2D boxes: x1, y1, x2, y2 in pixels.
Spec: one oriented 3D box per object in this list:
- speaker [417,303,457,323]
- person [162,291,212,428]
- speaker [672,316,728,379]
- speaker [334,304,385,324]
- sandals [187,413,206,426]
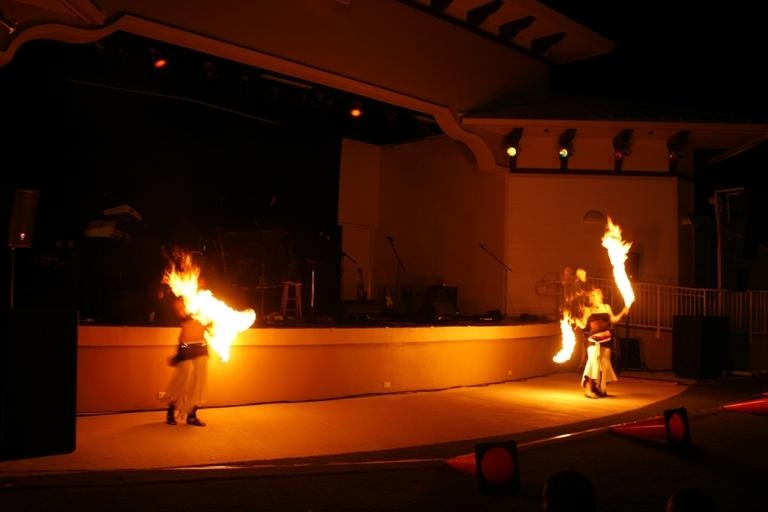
[{"bbox_3d":[1.162,1.224,13.980,0.768,0.369,1.425,3,3,27],"label":"speaker"},{"bbox_3d":[-3.150,1.678,10.148,0.658,1.939,0.666,0,3,-13],"label":"person"},{"bbox_3d":[7.097,2.058,14.303,1.140,1.412,0.587,2,4,25],"label":"speaker"},{"bbox_3d":[-0.551,1.174,13.474,0.940,0.403,0.780,1,3,-7],"label":"speaker"},{"bbox_3d":[-2.911,2.584,10.023,0.342,0.247,0.146,0,-3,-2],"label":"sandals"}]
